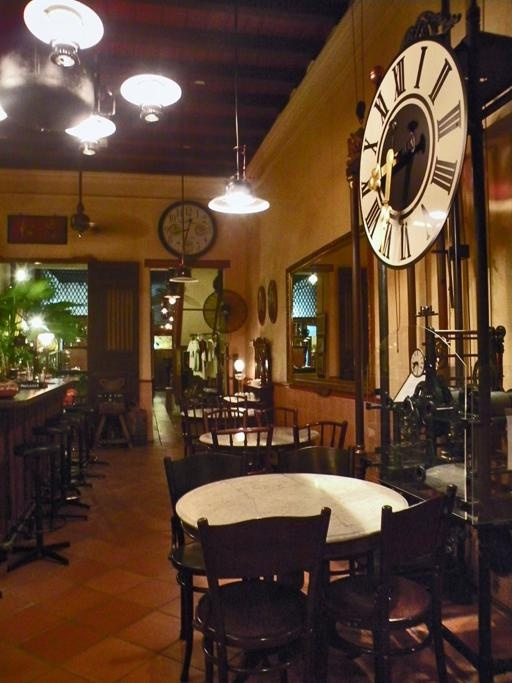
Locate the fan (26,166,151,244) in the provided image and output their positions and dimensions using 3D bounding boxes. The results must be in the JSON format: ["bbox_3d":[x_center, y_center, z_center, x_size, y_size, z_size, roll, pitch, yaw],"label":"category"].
[{"bbox_3d":[-2.137,-1.727,8.087,1.550,0.739,0.739,0,0,-16],"label":"fan"}]

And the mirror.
[{"bbox_3d":[0.531,-0.146,5.487,0.054,1.195,1.822,-6,1,-16],"label":"mirror"}]

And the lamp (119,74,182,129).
[{"bbox_3d":[-0.581,-1.377,3.639,0.304,0.184,0.376,0,0,10],"label":"lamp"}]

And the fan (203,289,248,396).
[{"bbox_3d":[-0.402,-0.035,8.691,0.571,1.331,0.877,0,0,-1],"label":"fan"}]

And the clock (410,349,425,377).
[{"bbox_3d":[0.597,0.080,2.385,0.025,0.101,0.105,0,0,-7],"label":"clock"}]

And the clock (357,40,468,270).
[{"bbox_3d":[0.563,-0.705,2.487,0.053,0.845,0.753,1,-4,-18],"label":"clock"}]

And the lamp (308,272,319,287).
[{"bbox_3d":[0.501,-0.536,5.586,0.078,0.126,0.082,1,-4,35],"label":"lamp"}]

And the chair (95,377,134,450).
[{"bbox_3d":[-1.815,0.878,8.195,0.508,0.923,0.598,4,19,5],"label":"chair"}]

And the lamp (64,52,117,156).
[{"bbox_3d":[-1.021,-1.469,4.206,0.219,0.506,0.234,25,27,3],"label":"lamp"}]
